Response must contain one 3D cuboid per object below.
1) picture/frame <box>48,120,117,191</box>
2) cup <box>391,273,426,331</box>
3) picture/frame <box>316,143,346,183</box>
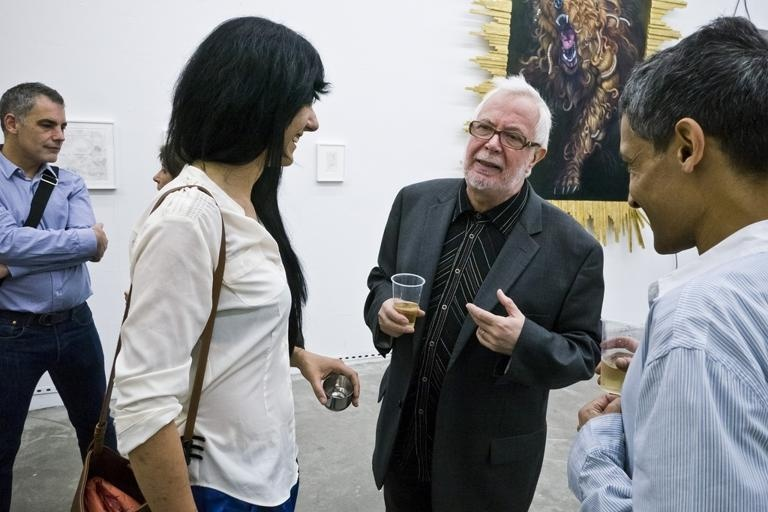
[{"bbox_3d":[-2.007,-0.678,3.873,0.529,0.592,0.024,2,8,-27],"label":"picture/frame"},{"bbox_3d":[0.098,0.197,2.520,0.137,0.241,0.221,4,8,4],"label":"cup"},{"bbox_3d":[-0.451,-0.767,4.772,0.279,0.379,0.037,-2,7,-25],"label":"picture/frame"}]
